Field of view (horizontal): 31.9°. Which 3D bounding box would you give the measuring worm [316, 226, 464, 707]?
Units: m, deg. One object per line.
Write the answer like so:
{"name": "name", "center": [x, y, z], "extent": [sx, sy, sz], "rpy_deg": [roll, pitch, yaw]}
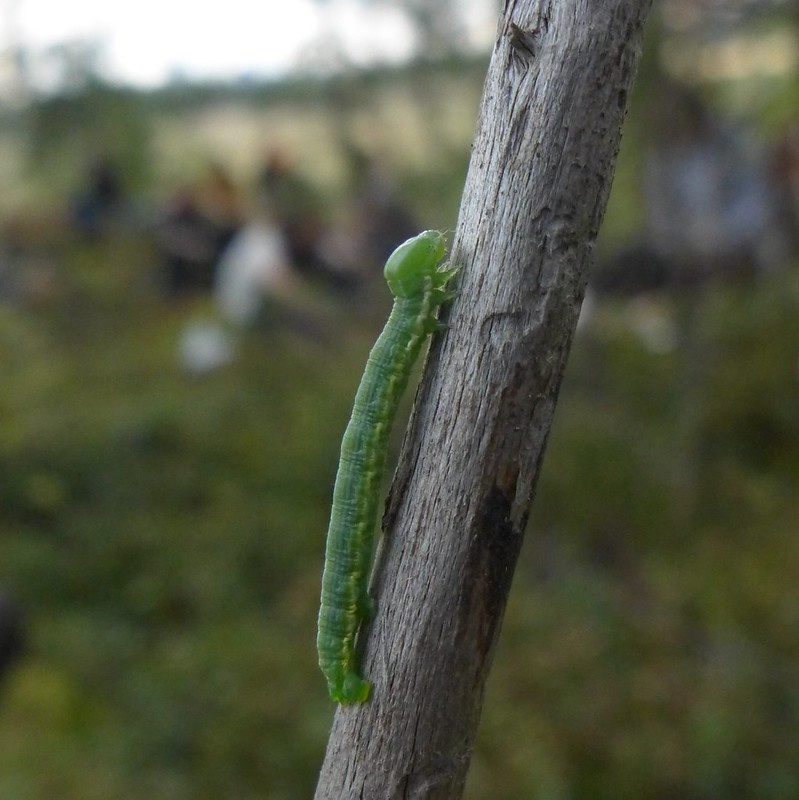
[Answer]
{"name": "measuring worm", "center": [-0.029, 0.145, 1.913], "extent": [0.133, 0.802, 0.138], "rpy_deg": [2, 35, -16]}
